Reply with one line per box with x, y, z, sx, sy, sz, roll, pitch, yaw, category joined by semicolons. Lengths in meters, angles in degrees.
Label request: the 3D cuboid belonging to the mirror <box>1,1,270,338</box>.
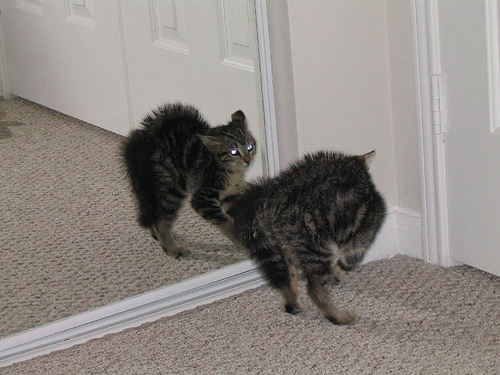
-0.383;-0.082;1.617;0.876;1.034;0.050;-15;28;-19;mirror

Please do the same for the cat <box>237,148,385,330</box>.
0.267;0.151;1.738;0.678;0.532;0.320;-15;12;-39;cat

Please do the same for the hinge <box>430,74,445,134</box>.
0.651;-0.287;1.767;0.038;0.196;0.065;-8;25;-15;hinge
